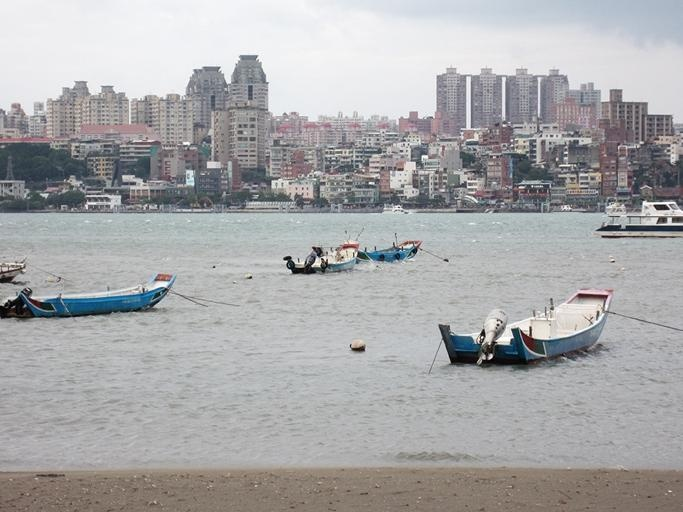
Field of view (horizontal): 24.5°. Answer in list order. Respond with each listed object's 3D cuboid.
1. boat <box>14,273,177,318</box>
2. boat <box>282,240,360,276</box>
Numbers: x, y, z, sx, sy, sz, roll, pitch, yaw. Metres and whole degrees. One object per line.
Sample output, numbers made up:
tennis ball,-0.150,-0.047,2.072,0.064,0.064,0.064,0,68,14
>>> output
boat,-11.438,2.030,69.074,9.557,1.724,2.360,-3,9,-28
boat,-0.623,0.298,91.328,1.898,1.053,5.334,4,6,21
